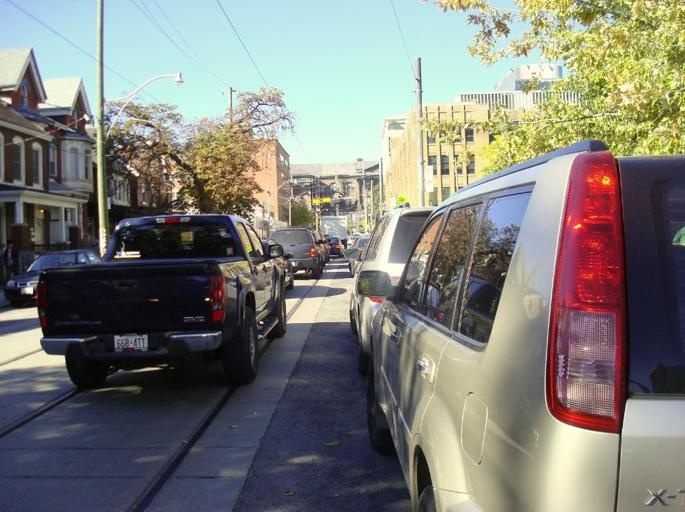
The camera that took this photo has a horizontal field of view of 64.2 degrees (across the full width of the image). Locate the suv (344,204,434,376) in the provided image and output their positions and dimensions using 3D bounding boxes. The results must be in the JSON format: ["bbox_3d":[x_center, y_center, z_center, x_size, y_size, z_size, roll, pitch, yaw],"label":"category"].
[{"bbox_3d":[0.576,0.019,7.637,0.815,1.250,2.400,0,9,1],"label":"suv"}]

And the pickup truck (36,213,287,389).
[{"bbox_3d":[-1.933,0.490,7.135,1.791,1.544,3.169,-1,4,9],"label":"pickup truck"}]
